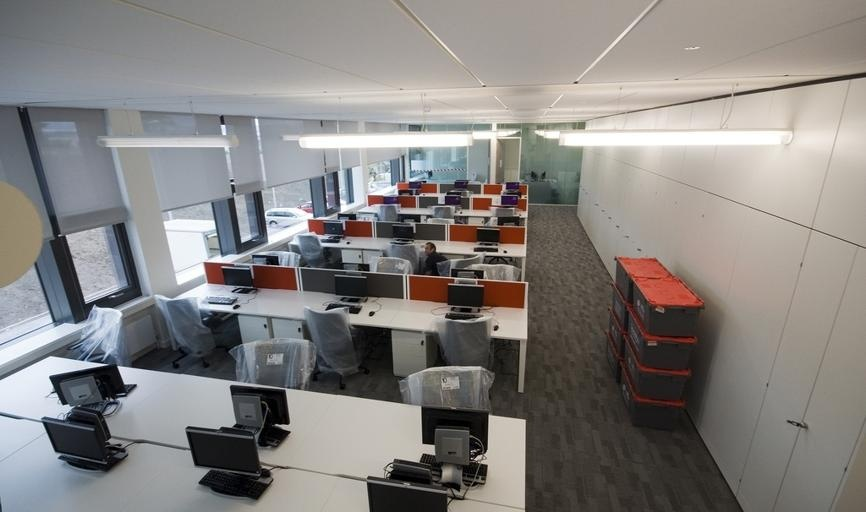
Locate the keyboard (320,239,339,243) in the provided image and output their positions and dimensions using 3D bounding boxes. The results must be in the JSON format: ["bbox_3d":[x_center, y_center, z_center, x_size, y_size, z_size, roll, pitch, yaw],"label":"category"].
[{"bbox_3d":[-2.064,-0.312,10.207,0.189,0.033,0.123,-1,22,0],"label":"keyboard"}]

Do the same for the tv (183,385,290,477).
[{"bbox_3d":[-1.948,1.781,5.177,0.762,0.778,0.656,2,15,8],"label":"tv"}]

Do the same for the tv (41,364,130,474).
[{"bbox_3d":[-3.679,1.767,5.360,0.948,0.958,0.731,1,13,9],"label":"tv"}]

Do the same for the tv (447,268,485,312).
[{"bbox_3d":[0.480,0.512,7.235,0.570,0.637,0.339,1,22,4],"label":"tv"}]

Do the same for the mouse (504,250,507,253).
[{"bbox_3d":[1.357,-0.085,9.437,0.040,0.013,0.056,-5,27,-10],"label":"mouse"}]

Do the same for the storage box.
[{"bbox_3d":[2.869,1.167,6.406,0.814,1.716,1.906,1,20,7],"label":"storage box"}]

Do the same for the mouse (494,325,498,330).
[{"bbox_3d":[0.853,0.971,6.813,0.080,0.032,0.121,1,13,7],"label":"mouse"}]
